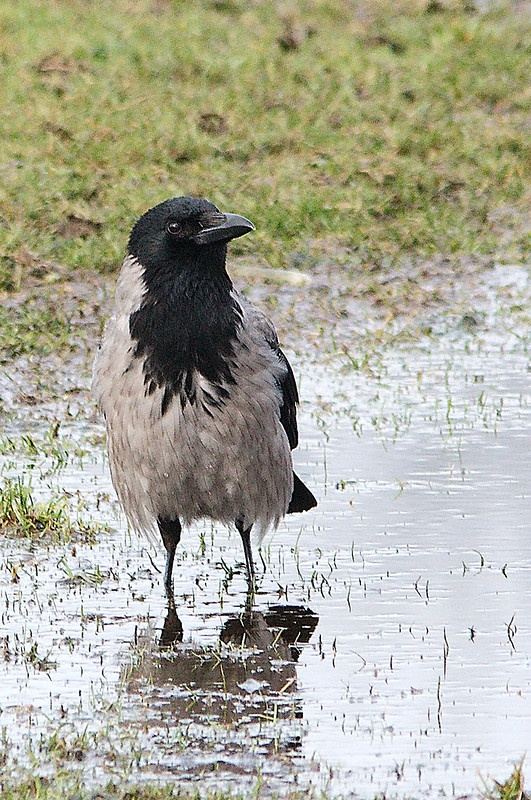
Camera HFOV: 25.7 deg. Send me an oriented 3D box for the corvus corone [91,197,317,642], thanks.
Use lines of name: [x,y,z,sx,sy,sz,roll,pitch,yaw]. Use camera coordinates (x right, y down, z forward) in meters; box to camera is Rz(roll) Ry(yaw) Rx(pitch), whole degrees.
corvus corone: [-0.222,-0.018,4.402,0.793,1.471,0.574,-5,9,-24]
